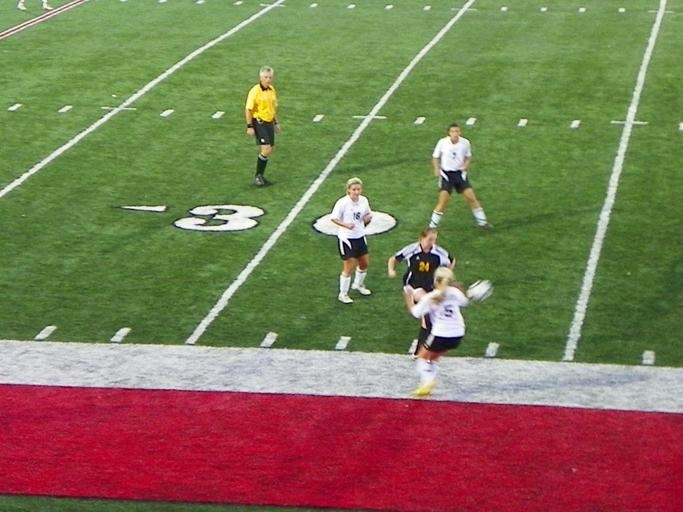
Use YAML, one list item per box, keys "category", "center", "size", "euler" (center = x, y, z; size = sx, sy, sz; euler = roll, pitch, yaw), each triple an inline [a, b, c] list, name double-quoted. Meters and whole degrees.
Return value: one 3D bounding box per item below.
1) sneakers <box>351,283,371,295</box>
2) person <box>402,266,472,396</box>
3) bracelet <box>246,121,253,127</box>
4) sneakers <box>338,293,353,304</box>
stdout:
- category: "sneakers"
  center: [0.336, 0.563, 16.940]
  size: [0.380, 0.109, 0.139]
  euler: [10, 35, 13]
- category: "person"
  center: [1.298, 1.063, 13.661]
  size: [0.624, 1.789, 1.132]
  euler: [10, 42, 26]
- category: "bracelet"
  center: [-1.883, -2.700, 20.869]
  size: [0.141, 0.075, 0.129]
  euler: [-22, 34, -29]
- category: "sneakers"
  center: [0.068, 0.710, 16.677]
  size: [0.153, 0.079, 0.253]
  euler: [-9, 13, -31]
